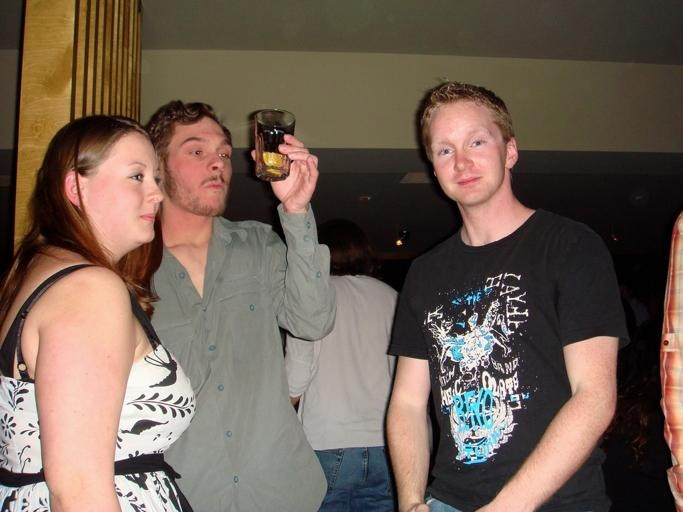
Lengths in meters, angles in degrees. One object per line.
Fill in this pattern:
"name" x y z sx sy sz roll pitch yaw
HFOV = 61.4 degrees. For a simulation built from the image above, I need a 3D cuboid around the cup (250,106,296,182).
"cup" -0.284 -0.464 2.399 0.161 0.305 0.150 0 7 0
